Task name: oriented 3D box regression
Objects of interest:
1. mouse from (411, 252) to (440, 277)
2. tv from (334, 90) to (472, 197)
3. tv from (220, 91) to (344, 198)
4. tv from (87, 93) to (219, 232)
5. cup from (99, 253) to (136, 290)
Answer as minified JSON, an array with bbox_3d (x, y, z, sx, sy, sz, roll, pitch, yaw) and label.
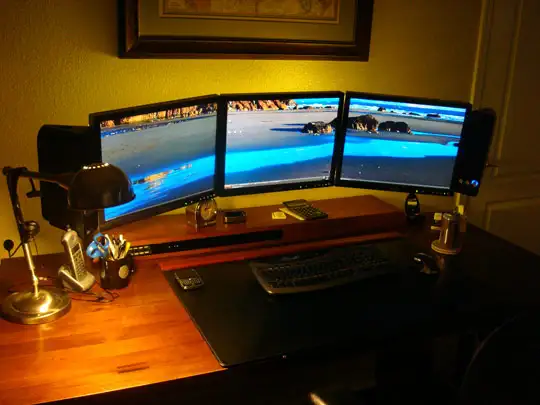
[{"bbox_3d":[0.673,0.256,1.855,0.072,0.040,0.115,-18,35,-27],"label":"mouse"},{"bbox_3d":[0.672,-0.297,2.149,0.593,0.453,0.059,5,22,-3],"label":"tv"},{"bbox_3d":[0.045,-0.301,2.038,0.561,0.391,0.042,-8,29,-22],"label":"tv"},{"bbox_3d":[-0.486,-0.174,1.739,0.576,0.459,0.044,-19,32,-39],"label":"tv"},{"bbox_3d":[-0.603,0.267,1.736,0.096,0.127,0.154,20,16,33],"label":"cup"}]
